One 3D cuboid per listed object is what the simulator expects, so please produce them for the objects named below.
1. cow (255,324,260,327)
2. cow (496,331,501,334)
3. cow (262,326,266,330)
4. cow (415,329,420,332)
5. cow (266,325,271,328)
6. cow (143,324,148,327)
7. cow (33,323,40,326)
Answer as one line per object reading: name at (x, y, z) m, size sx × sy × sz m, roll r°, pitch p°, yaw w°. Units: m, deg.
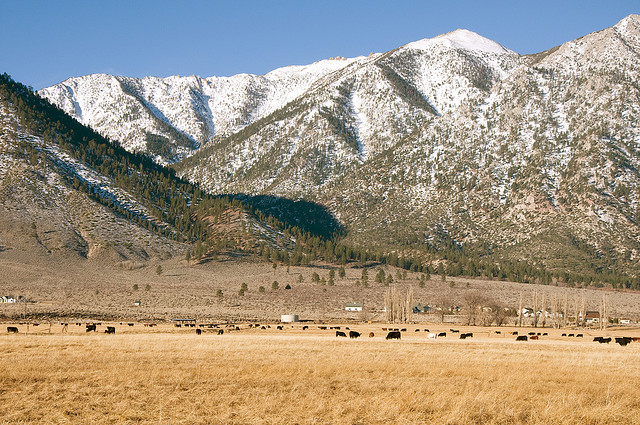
cow at (-34.294, 61.064, 578.266) m, size 1.624 × 1.578 × 3.681 m, roll -5°, pitch -11°, yaw 27°
cow at (97.253, 64.318, 574.091) m, size 2.323 × 1.493 × 3.005 m, roll -2°, pitch -10°, yaw 10°
cow at (-30.160, 61.629, 573.885) m, size 1.733 × 1.449 × 1.533 m, roll 2°, pitch -9°, yaw -14°
cow at (53.061, 63.266, 573.698) m, size 2.468 × 1.424 × 2.220 m, roll 1°, pitch -10°, yaw -8°
cow at (-27.982, 61.119, 575.825) m, size 1.960 × 1.549 × 3.554 m, roll -2°, pitch -10°, yaw 9°
cow at (-93.389, 60.209, 569.935) m, size 1.370 × 1.491 × 2.927 m, roll 7°, pitch -12°, yaw -37°
cow at (-152.215, 59.301, 567.890) m, size 2.931 × 1.574 × 3.486 m, roll 0°, pitch -10°, yaw -3°
